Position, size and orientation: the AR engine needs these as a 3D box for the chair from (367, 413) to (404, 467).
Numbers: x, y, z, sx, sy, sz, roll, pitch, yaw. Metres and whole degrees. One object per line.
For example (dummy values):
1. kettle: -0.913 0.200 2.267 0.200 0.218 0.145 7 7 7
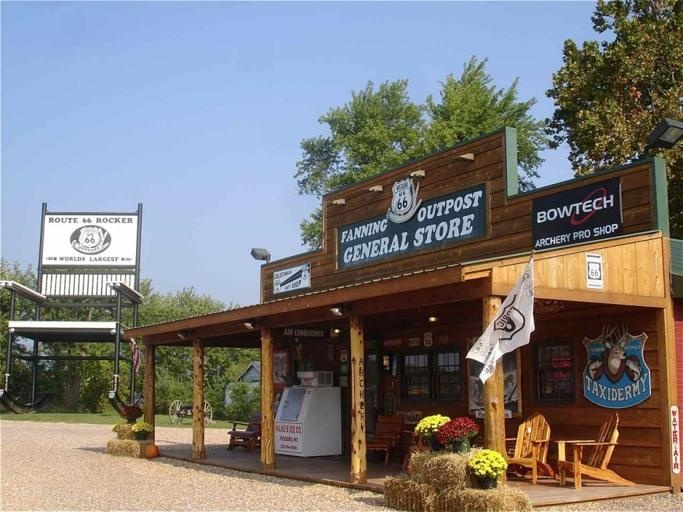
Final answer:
1. chair: 1.056 4.260 16.891 0.970 1.350 0.999 -8 -12 34

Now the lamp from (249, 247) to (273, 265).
1. lamp: -2.614 -0.074 23.785 0.562 0.406 0.465 5 -15 -15

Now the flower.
1. flower: 1.897 3.020 11.601 0.791 0.690 1.514 0 5 -27

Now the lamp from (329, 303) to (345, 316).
1. lamp: -0.042 1.054 14.000 0.219 0.216 0.060 21 20 28

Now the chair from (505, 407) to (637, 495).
1. chair: 4.132 3.641 13.547 1.997 1.433 1.260 -2 -7 5

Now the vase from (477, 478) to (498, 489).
1. vase: 2.241 3.494 11.211 0.200 0.154 0.208 0 -8 2
